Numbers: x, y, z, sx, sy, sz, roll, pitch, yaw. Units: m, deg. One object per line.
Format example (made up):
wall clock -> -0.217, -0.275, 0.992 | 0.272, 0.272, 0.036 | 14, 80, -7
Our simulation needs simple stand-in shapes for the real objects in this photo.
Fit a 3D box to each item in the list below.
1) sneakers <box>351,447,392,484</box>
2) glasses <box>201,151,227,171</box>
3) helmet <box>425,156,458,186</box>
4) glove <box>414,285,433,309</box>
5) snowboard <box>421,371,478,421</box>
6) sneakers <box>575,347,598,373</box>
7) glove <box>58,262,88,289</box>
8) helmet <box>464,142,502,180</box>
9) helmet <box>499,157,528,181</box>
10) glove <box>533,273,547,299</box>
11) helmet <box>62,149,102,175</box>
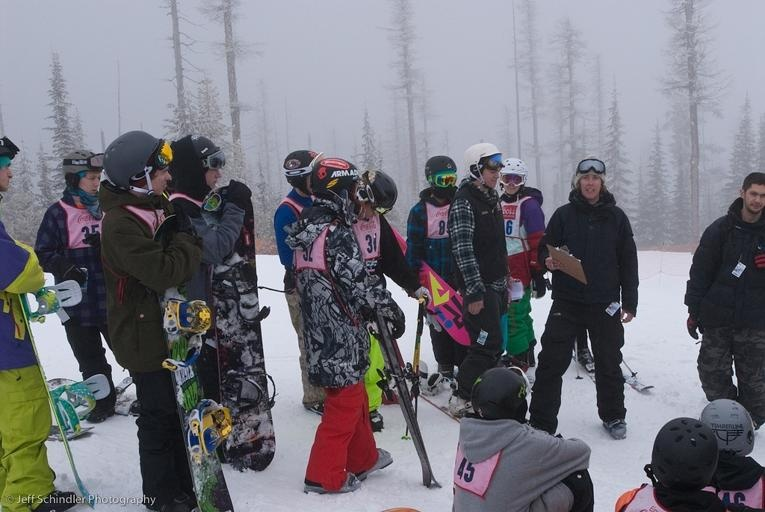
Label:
sneakers -> -0.167, 2.841, 10.538 | 0.226, 0.284, 0.693 | 10, 35, 40
glasses -> -2.249, -1.277, 10.444 | 0.271, 0.148, 0.222 | 2, 25, 42
helmet -> 0.943, -1.340, 12.617 | 0.482, 0.521, 0.560 | -4, 1, -41
glove -> 0.594, 0.613, 11.192 | 0.128, 0.307, 0.221 | -11, 6, 7
snowboard -> 0.971, 2.213, 12.275 | 0.558, 0.233, 0.810 | 21, 29, 35
sneakers -> 3.389, 1.752, 12.983 | 0.173, 0.505, 0.224 | -9, -37, 1
glove -> -4.408, 0.270, 11.231 | 0.448, 0.444, 0.172 | 10, -1, -10
helmet -> 1.542, -1.452, 11.878 | 0.599, 0.558, 0.489 | -5, 5, 43
helmet -> 2.206, -1.500, 13.150 | 0.346, 0.425, 0.435 | 1, -17, 12
glove -> 2.643, 0.509, 13.024 | 0.282, 0.388, 0.129 | 1, 3, -9
helmet -> -4.373, -1.376, 11.421 | 0.486, 0.271, 0.352 | 1, 9, -3
